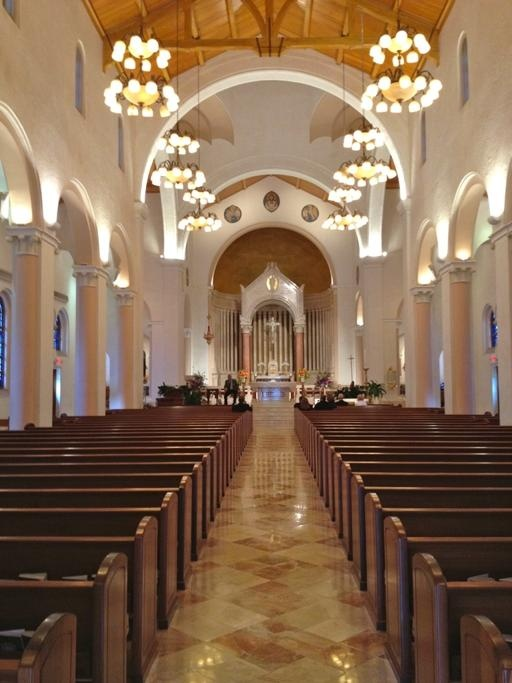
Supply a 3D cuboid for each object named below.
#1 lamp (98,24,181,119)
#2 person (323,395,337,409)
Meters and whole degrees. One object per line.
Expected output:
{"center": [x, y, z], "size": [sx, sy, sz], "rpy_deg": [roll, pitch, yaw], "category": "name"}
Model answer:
{"center": [-1.579, -3.987, 7.996], "size": [0.743, 1.319, 0.840], "rpy_deg": [0, -10, 0], "category": "lamp"}
{"center": [1.888, 1.551, 14.825], "size": [0.248, 0.455, 0.806], "rpy_deg": [1, -14, 4], "category": "person"}
